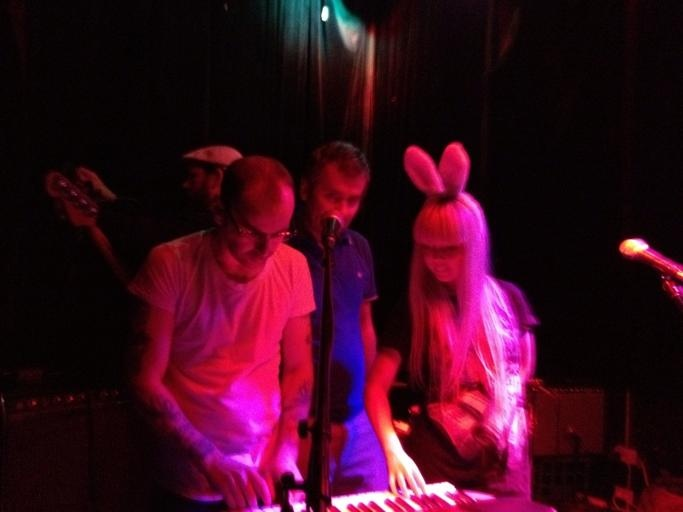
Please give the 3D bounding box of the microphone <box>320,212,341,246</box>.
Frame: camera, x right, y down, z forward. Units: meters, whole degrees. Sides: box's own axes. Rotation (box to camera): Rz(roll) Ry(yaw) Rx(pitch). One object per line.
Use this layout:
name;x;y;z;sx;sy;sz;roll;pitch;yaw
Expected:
microphone;-0.052;-0.090;2.592;0.072;0.128;0.085;7;-22;-5
